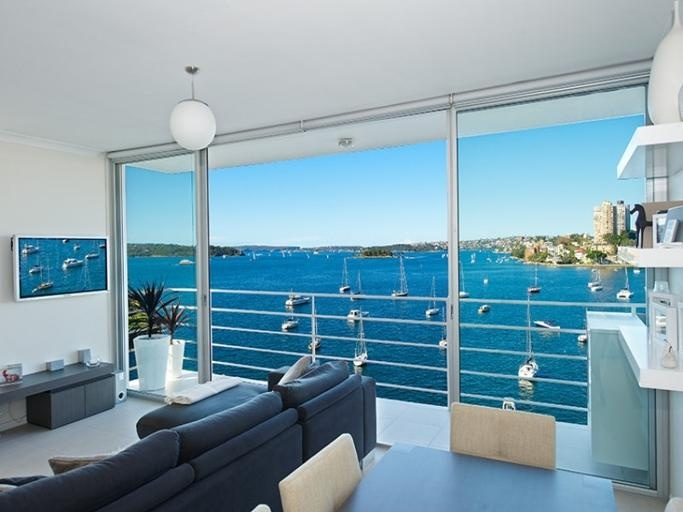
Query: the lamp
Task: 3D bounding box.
[{"bbox_3d":[-1.124,-1.108,3.437,0.313,0.512,0.568,-2,1,-9],"label":"lamp"}]
